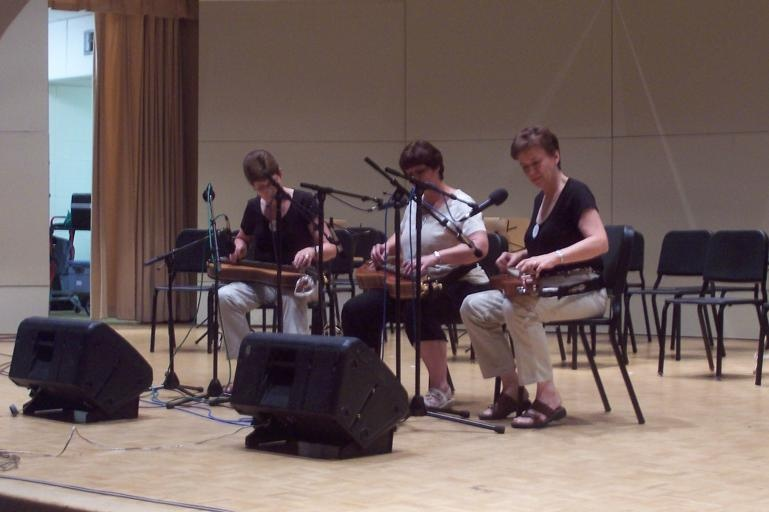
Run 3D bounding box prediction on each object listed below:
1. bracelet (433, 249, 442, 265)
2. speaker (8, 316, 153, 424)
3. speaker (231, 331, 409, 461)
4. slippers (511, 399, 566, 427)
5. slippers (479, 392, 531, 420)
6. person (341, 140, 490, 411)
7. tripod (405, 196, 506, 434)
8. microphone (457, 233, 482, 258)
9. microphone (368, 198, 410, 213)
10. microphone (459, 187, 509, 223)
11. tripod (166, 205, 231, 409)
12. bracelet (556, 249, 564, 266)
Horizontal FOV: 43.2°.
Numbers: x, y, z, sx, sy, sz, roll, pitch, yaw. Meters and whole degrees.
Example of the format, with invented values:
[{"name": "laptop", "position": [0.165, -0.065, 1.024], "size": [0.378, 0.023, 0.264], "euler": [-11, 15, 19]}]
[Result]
[{"name": "bracelet", "position": [0.350, 0.004, 6.611], "size": [0.045, 0.077, 0.074], "euler": [-3, 27, -8]}, {"name": "speaker", "position": [-2.031, 0.679, 6.573], "size": [0.882, 0.696, 0.672], "euler": [-1, -1, 37]}, {"name": "speaker", "position": [-0.431, 0.880, 6.141], "size": [0.949, 0.772, 0.708], "euler": [1, 0, 40]}, {"name": "slippers", "position": [1.034, 1.046, 6.430], "size": [0.292, 0.138, 0.165], "euler": [-6, -4, -31]}, {"name": "slippers", "position": [0.824, 0.996, 6.615], "size": [0.414, 0.204, 0.159], "euler": [-5, -3, -16]}, {"name": "person", "position": [0.201, 0.097, 6.744], "size": [1.066, 1.777, 1.139], "euler": [-5, 1, -18]}, {"name": "tripod", "position": [0.438, 0.367, 6.449], "size": [0.711, 1.590, 0.632], "euler": [-1, -5, 1]}, {"name": "microphone", "position": [0.564, -0.070, 6.378], "size": [0.177, 0.046, 0.130], "euler": [41, -1, -23]}, {"name": "microphone", "position": [0.039, -0.328, 6.326], "size": [0.255, 0.072, 0.190], "euler": [3, -3, -34]}, {"name": "microphone", "position": [0.649, -0.344, 6.494], "size": [0.281, 0.213, 0.617], "euler": [-1, -6, 2]}, {"name": "tripod", "position": [-1.405, 0.393, 7.184], "size": [0.509, 1.280, 0.517], "euler": [-1, 0, -26]}, {"name": "bracelet", "position": [1.132, 0.007, 6.238], "size": [0.065, 0.076, 0.071], "euler": [4, -3, -1]}]
